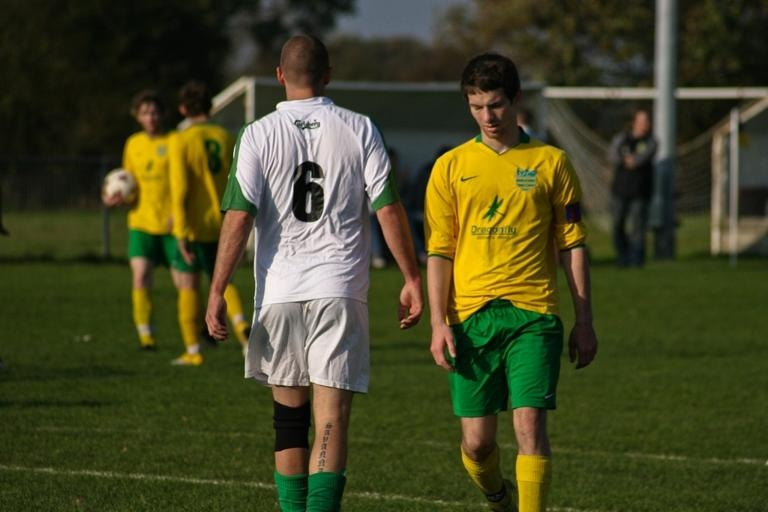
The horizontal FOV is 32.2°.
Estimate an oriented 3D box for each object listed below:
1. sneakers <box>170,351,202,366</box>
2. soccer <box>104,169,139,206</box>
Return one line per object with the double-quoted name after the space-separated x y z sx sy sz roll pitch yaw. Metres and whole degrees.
-2.110 1.113 14.241 0.312 0.161 0.124 2 -1 2 "sneakers"
-2.371 -0.620 11.971 0.231 0.359 0.186 4 1 -4 "soccer"
